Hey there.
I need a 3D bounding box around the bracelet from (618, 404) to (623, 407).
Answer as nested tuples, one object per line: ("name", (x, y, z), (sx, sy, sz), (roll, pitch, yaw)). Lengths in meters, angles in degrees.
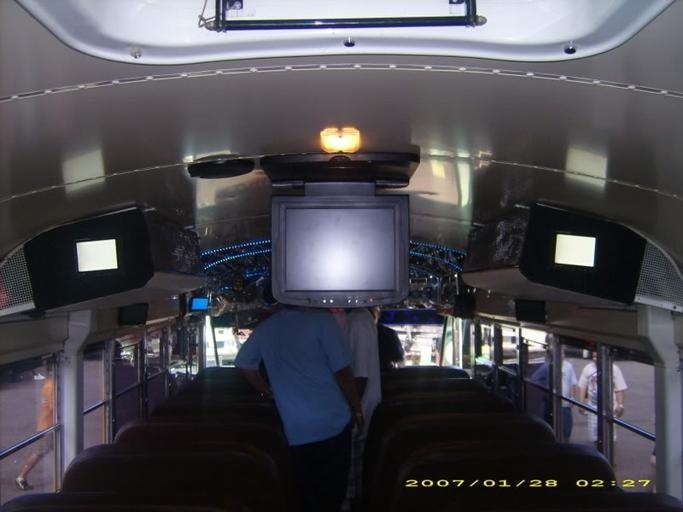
("bracelet", (2.205, 1.181, 4.574), (0.017, 0.020, 0.020), (4, -11, -27))
